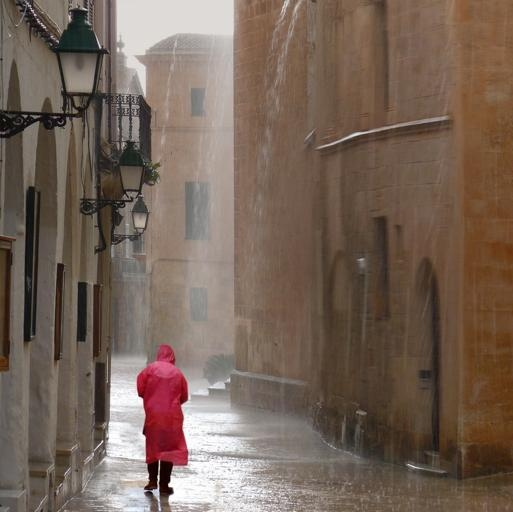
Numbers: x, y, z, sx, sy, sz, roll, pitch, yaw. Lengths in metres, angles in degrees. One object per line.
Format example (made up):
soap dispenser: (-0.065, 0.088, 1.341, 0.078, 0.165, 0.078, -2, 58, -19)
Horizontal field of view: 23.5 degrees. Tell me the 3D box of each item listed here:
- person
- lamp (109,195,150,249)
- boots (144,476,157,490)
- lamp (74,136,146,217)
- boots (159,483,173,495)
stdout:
person: (-1.039, 1.805, 13.582, 0.547, 1.653, 0.621, 0, 0, -5)
lamp: (-1.969, -0.592, 19.238, 0.526, 0.967, 0.291, 0, 32, -13)
boots: (-1.177, 2.520, 13.724, 0.176, 0.175, 0.075, -1, -3, 27)
lamp: (-1.624, -0.878, 14.023, 0.697, 1.012, 0.370, 3, -39, -9)
boots: (-1.011, 2.570, 13.675, 0.133, 0.122, 0.086, -4, -4, 20)
